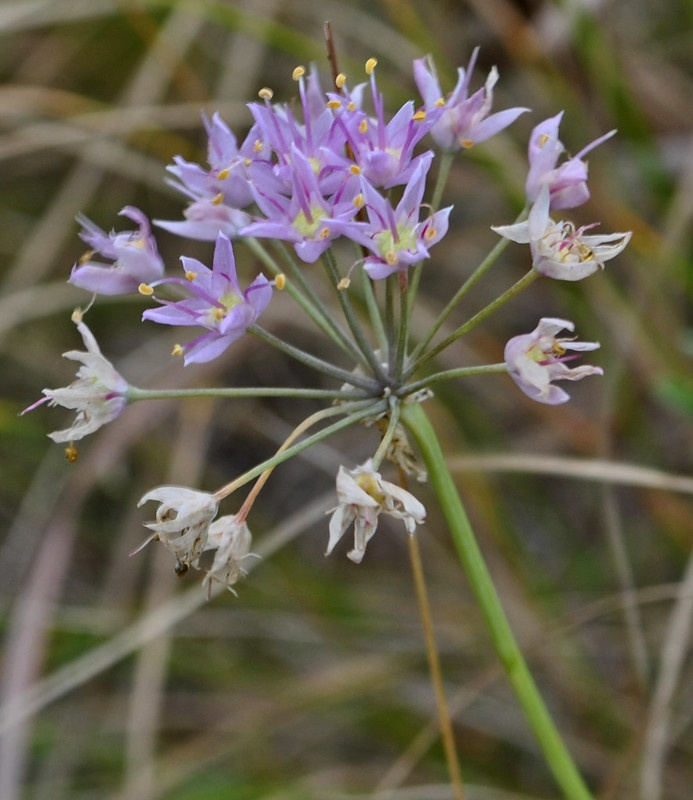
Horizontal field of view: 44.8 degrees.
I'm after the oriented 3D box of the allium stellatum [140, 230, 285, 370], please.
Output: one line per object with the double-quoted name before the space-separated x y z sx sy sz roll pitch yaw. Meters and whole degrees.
"allium stellatum" -0.175 -0.154 1.290 0.183 0.112 0.191 -38 4 3
